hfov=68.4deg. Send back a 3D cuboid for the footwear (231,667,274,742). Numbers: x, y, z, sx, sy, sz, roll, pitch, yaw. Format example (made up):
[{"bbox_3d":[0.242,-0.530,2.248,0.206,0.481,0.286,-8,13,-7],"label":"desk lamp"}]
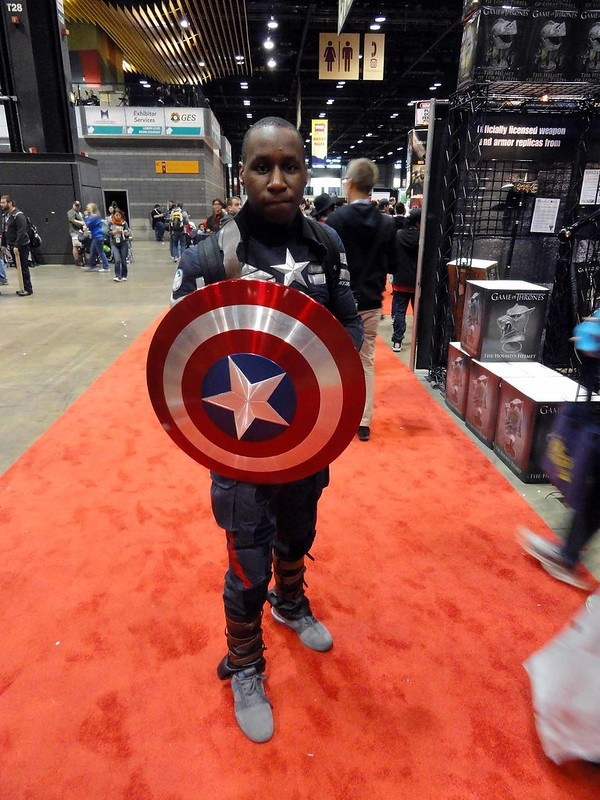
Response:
[{"bbox_3d":[-0.131,0.888,1.272,0.067,0.075,0.193,0,14,-17],"label":"footwear"}]

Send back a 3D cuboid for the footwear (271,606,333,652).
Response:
[{"bbox_3d":[-0.006,0.849,1.653,0.261,0.115,0.099,11,14,35],"label":"footwear"}]

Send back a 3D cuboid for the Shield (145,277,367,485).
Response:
[{"bbox_3d":[-0.108,-0.019,1.011,0.499,0.483,0.196,3,11,13],"label":"Shield"}]
